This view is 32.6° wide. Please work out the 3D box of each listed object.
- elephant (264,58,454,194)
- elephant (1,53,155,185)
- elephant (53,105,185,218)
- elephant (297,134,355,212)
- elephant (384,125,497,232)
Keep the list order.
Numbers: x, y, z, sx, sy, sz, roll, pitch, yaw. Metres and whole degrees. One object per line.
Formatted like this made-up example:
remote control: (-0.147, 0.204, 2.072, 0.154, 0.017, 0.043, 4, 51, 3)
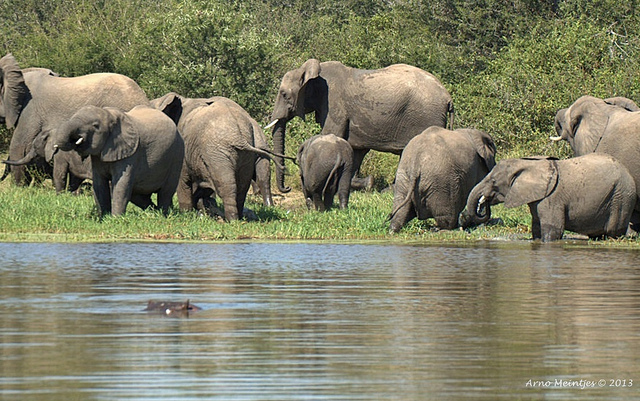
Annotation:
elephant: (1.023, -1.630, 26.819, 5.264, 3.241, 2.246, 4, 2, 31)
elephant: (-6.195, -2.248, 25.229, 4.740, 2.379, 1.883, 2, 3, 15)
elephant: (-4.250, -0.642, 22.748, 1.638, 2.375, 3.479, 4, 1, 36)
elephant: (0.030, -0.645, 26.490, 1.347, 1.926, 2.482, 1, 4, -17)
elephant: (2.788, -0.468, 23.286, 1.725, 2.091, 4.033, 9, 11, 36)
